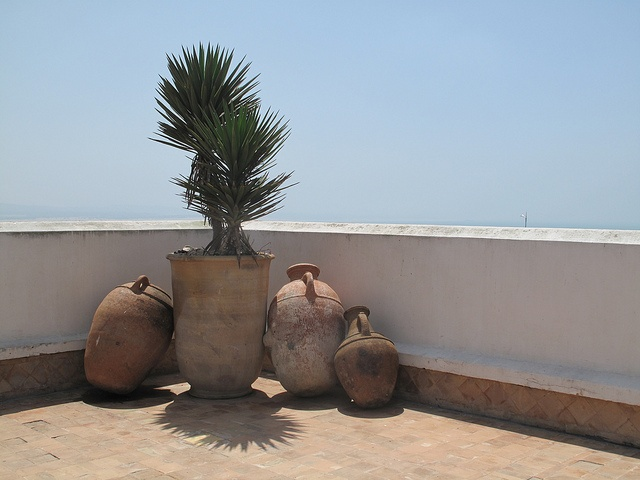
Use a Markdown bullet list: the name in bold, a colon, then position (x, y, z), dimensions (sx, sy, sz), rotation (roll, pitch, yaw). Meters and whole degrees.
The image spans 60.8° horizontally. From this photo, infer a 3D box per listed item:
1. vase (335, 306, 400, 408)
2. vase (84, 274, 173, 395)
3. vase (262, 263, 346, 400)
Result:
- **vase**: position (0.455, 1.205, 5.570), dimensions (0.643, 1.038, 0.688), rotation (-13, -33, 4)
- **vase**: position (-2.041, 1.066, 5.841), dimensions (0.808, 1.200, 0.902), rotation (-2, -33, 17)
- **vase**: position (-0.174, 1.225, 6.323), dimensions (1.029, 1.729, 1.184), rotation (8, -24, -18)
